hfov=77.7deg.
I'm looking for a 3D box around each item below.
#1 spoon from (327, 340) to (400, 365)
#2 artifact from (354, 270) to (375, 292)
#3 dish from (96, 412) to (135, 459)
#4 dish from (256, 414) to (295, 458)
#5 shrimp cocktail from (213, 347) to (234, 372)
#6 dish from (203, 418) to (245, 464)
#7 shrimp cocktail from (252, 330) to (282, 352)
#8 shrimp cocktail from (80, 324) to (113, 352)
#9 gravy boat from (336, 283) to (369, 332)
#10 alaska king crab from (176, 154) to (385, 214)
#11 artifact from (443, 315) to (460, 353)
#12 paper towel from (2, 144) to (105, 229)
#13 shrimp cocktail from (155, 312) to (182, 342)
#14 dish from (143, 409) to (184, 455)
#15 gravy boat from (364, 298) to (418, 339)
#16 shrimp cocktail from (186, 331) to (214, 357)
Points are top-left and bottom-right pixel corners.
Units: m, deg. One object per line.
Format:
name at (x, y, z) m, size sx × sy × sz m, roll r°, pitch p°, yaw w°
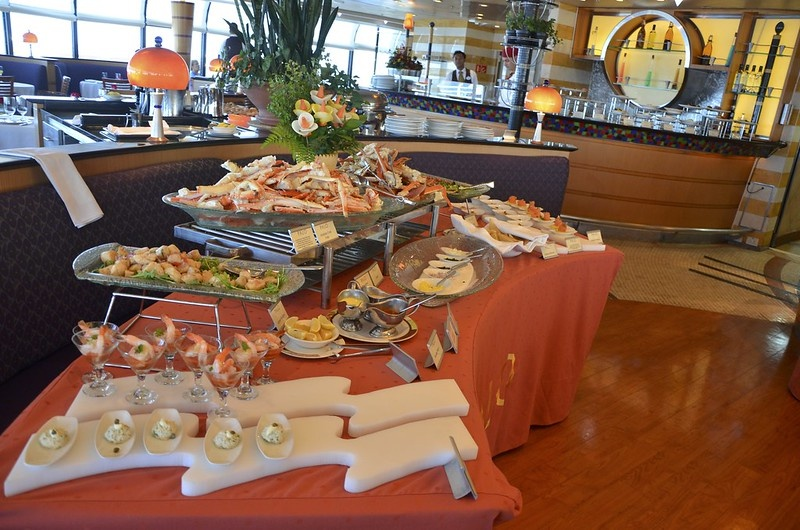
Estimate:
spoon at (-0.125, 0.309, 1.757) m, size 0.257 × 0.027 × 0.084 m, roll -6°, pitch 25°, yaw -20°
artifact at (-0.147, 0.070, 2.041) m, size 0.072 × 0.073 × 0.017 m, roll -30°, pitch 44°, yaw -30°
dish at (-0.741, 0.447, 1.306) m, size 0.083 × 0.044 × 0.131 m, roll -1°, pitch 37°, yaw -32°
dish at (-0.337, 0.464, 1.347) m, size 0.097 × 0.067 × 0.113 m, roll -2°, pitch 23°, yaw -17°
shrimp cocktail at (-0.497, 0.272, 1.403) m, size 0.057 × 0.051 × 0.044 m, roll -8°, pitch 26°, yaw -30°
dish at (-0.462, 0.469, 1.317) m, size 0.089 × 0.041 × 0.141 m, roll 21°, pitch 21°, yaw -17°
shrimp cocktail at (-0.406, 0.245, 1.528) m, size 0.069 × 0.032 × 0.070 m, roll 31°, pitch 14°, yaw 19°
shrimp cocktail at (-0.868, 0.205, 1.445) m, size 0.085 × 0.049 × 0.081 m, roll -3°, pitch 23°, yaw -46°
gravy boat at (-0.179, 0.192, 1.902) m, size 0.161 × 0.132 × 0.130 m, roll -2°, pitch -10°, yaw 0°
alaska king crab at (-0.457, -0.301, 2.004) m, size 0.773 × 0.212 × 0.646 m, roll -3°, pitch 20°, yaw -22°
artifact at (0.191, 0.262, 1.839) m, size 0.036 × 0.072 × 0.111 m, roll -14°, pitch 30°, yaw 16°
paper towel at (-1.660, -0.363, 2.424) m, size 0.126 × 0.409 × 0.415 m, roll -28°, pitch -5°, yaw 34°
shrimp cocktail at (-0.706, 0.190, 1.530) m, size 0.057 × 0.028 × 0.098 m, roll -10°, pitch 52°, yaw -18°
dish at (-0.632, 0.447, 1.333) m, size 0.093 × 0.043 × 0.145 m, roll 7°, pitch 25°, yaw -29°
gravy boat at (-0.061, 0.195, 1.858) m, size 0.112 × 0.126 × 0.199 m, roll 25°, pitch 19°, yaw 39°
shrimp cocktail at (-0.588, 0.235, 1.463) m, size 0.064 × 0.038 × 0.137 m, roll -7°, pitch 25°, yaw -29°
